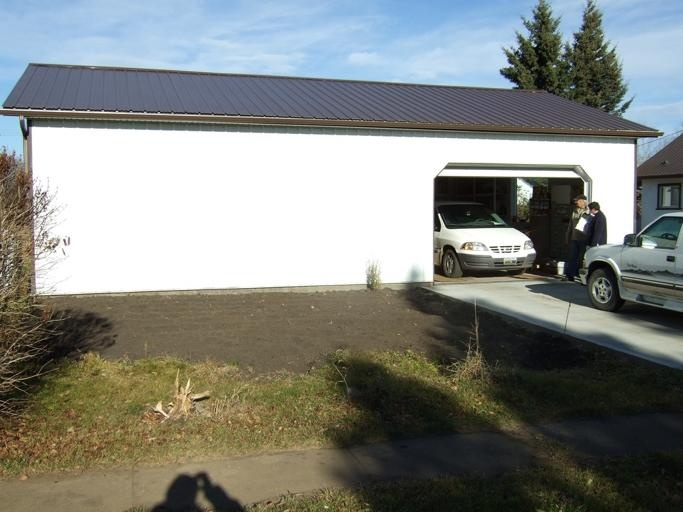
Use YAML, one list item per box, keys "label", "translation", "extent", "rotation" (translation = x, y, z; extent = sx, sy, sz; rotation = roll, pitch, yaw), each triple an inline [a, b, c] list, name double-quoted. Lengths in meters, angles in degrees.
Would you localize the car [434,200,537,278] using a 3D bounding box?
- label: "car"
  translation: [3.460, -0.499, 14.450]
  extent: [1.464, 1.388, 2.937]
  rotation: [-2, 2, -16]
